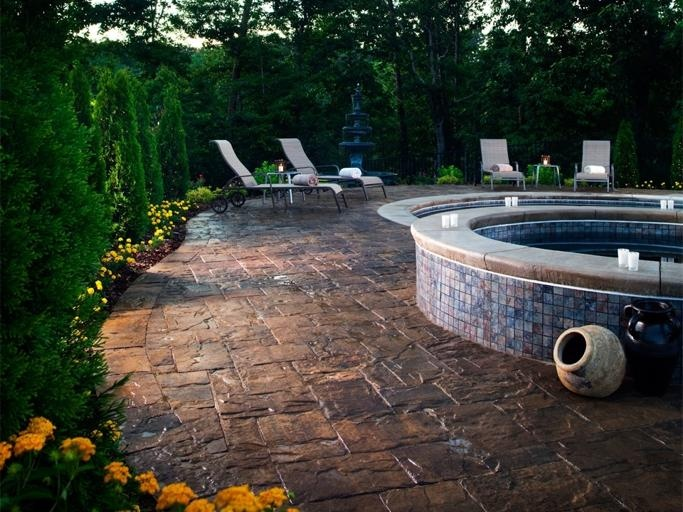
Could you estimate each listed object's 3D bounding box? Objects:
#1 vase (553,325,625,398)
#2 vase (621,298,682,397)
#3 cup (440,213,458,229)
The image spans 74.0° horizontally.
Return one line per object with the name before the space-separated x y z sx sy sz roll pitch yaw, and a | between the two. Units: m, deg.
vase | 1.532 0.656 2.859 0.381 0.399 0.374 5 13 41
vase | 1.934 0.559 2.840 0.379 0.548 0.288 -13 14 -40
cup | 1.163 -0.387 4.969 0.202 0.122 0.195 0 0 0
